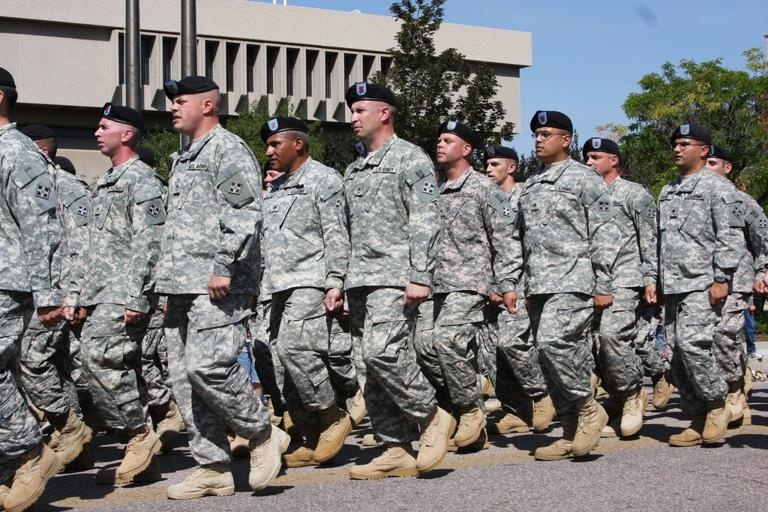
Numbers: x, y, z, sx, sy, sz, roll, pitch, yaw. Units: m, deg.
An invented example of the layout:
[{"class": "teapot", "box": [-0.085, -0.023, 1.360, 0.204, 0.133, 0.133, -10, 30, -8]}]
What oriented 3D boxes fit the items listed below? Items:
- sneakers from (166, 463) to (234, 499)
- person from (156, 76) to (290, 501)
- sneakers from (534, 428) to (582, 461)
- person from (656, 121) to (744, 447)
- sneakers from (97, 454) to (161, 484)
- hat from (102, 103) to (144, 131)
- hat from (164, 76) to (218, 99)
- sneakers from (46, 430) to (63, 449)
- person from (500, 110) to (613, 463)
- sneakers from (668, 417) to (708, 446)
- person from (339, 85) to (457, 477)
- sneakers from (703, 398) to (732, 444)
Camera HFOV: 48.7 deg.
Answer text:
[{"class": "sneakers", "box": [-1.514, 1.874, 7.063, 0.572, 0.222, 0.223, 2, -5, -17]}, {"class": "person", "box": [-1.390, 0.241, 7.043, 1.242, 3.460, 0.776, 8, 7, 39]}, {"class": "sneakers", "box": [1.587, 1.816, 7.973, 0.535, 0.193, 0.162, 0, -3, -10]}, {"class": "person", "box": [3.179, 0.261, 8.651, 0.746, 3.205, 1.041, 4, 5, 2]}, {"class": "sneakers", "box": [-2.252, 1.902, 7.500, 0.643, 0.216, 0.221, 2, -5, -9]}, {"class": "hat", "box": [-2.473, -1.321, 8.059, 0.394, 0.131, 0.278, 15, 1, -1]}, {"class": "hat", "box": [-1.663, -1.449, 7.243, 0.372, 0.107, 0.234, -2, 1, -19]}, {"class": "sneakers", "box": [-3.188, 1.805, 8.322, 0.191, 0.182, 0.074, 0, -31, 25]}, {"class": "person", "box": [1.720, 0.262, 8.197, 0.819, 3.278, 1.176, 2, 6, -26]}, {"class": "sneakers", "box": [3.024, 1.780, 8.489, 0.505, 0.177, 0.175, -1, -2, -31]}, {"class": "person", "box": [0.057, 0.214, 7.468, 0.740, 3.452, 1.087, 0, 7, -42]}, {"class": "sneakers", "box": [3.247, 1.634, 8.355, 0.201, 0.224, 0.564, -10, 23, 39]}]
